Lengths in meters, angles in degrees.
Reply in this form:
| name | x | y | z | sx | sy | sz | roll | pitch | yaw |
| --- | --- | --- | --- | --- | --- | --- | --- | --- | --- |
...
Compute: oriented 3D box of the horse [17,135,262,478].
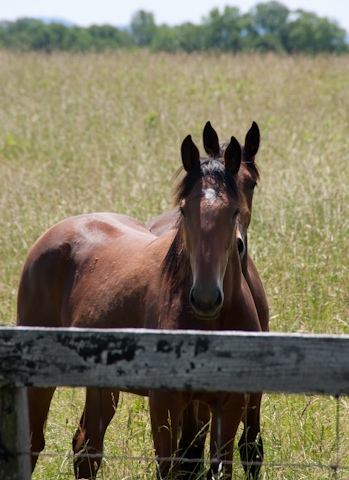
| name | x | y | z | sx | sy | sz | roll | pitch | yaw |
| --- | --- | --- | --- | --- | --- | --- | --- | --- | --- |
| horse | -0.316 | 0.610 | 10.382 | 2.479 | 3.311 | 1.294 | 12 | 16 | 32 |
